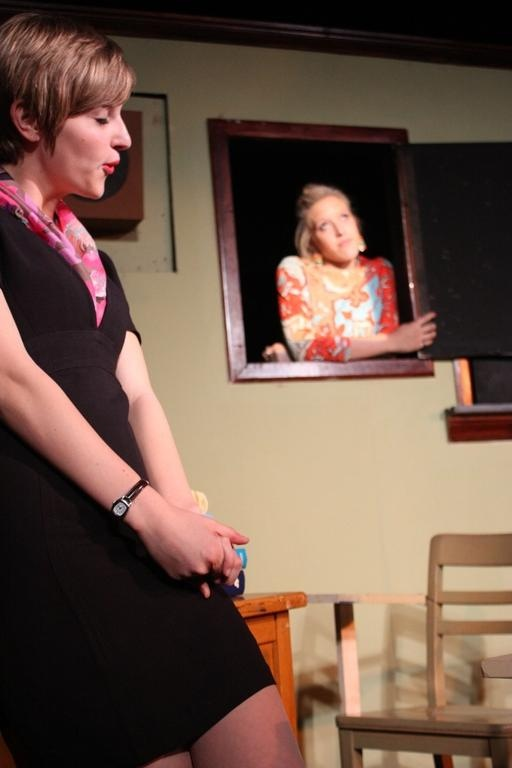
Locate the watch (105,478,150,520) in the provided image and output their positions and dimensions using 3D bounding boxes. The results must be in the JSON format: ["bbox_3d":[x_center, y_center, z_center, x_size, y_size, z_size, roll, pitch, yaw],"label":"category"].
[{"bbox_3d":[-0.129,0.119,0.707,0.042,0.024,0.044,-45,-15,14],"label":"watch"}]
